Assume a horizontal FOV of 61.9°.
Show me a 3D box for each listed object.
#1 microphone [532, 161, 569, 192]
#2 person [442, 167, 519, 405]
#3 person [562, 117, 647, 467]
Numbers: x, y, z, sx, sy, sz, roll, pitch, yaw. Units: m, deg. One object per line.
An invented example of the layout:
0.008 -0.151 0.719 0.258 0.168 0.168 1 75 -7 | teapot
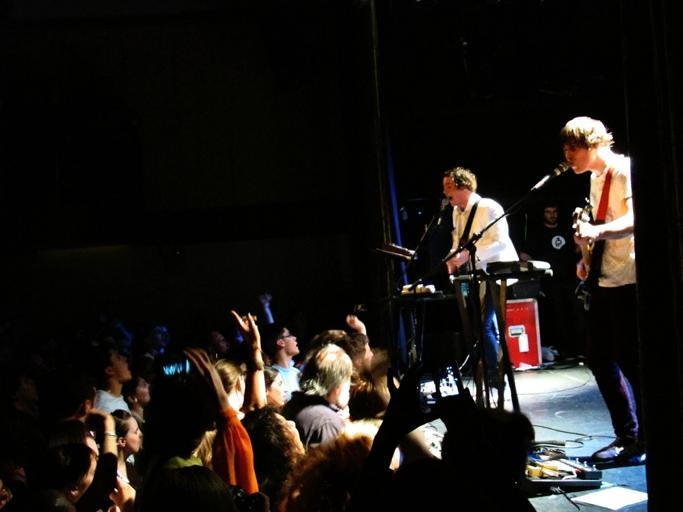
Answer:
1.204 -0.448 3.214 0.293 0.150 0.105 -3 -3 -29 | microphone
1.111 0.134 4.419 0.537 1.573 1.717 -5 -3 14 | person
1.528 0.172 3.283 0.339 1.974 0.496 -5 -2 27 | person
